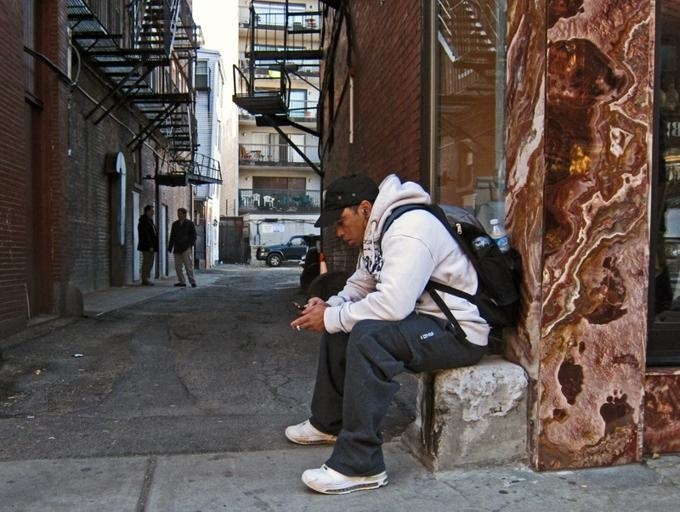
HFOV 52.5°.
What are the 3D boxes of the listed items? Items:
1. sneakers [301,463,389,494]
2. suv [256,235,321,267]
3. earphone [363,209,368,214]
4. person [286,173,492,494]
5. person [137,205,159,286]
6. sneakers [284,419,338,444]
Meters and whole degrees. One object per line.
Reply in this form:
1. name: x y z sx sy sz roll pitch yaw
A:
1. sneakers: 0.015 1.307 4.146 0.445 0.200 0.182 4 -6 -16
2. suv: -2.687 -0.219 34.118 3.320 1.589 1.671 0 0 -12
3. earphone: 0.163 -0.283 4.420 0.021 0.031 0.029 9 9 15
4. person: 0.303 0.420 4.406 1.216 1.885 0.813 -2 4 -5
5. person: -4.589 -0.279 16.451 0.428 1.855 1.551 -2 4 -17
6. sneakers: -0.194 1.185 4.629 0.351 0.172 0.144 5 0 -6
